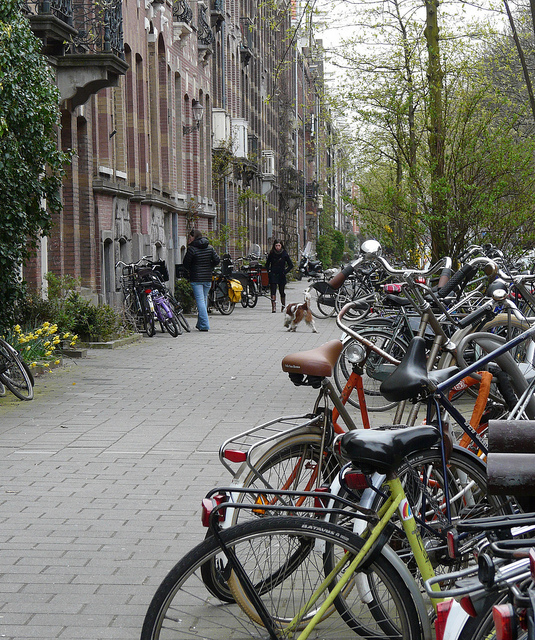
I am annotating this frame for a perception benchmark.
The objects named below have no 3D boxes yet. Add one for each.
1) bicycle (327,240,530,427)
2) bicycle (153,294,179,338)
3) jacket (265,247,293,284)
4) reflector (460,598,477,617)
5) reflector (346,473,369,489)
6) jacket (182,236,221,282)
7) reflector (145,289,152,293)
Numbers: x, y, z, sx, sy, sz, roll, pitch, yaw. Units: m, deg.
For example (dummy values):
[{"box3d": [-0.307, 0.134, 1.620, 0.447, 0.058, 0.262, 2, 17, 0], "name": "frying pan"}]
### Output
[{"box3d": [0.968, 0.038, 4.577, 1.614, 0.948, 0.917, -2, 6, -39], "name": "bicycle"}, {"box3d": [-2.254, -0.110, 16.836, 0.501, 0.916, 0.793, -2, 4, -10], "name": "bicycle"}, {"box3d": [0.330, -1.627, 22.798, 0.758, 1.084, 0.700, -1, 4, 5], "name": "jacket"}, {"box3d": [0.446, 0.635, 1.709, 0.015, 0.042, 0.031, -22, -22, -20], "name": "reflector"}, {"box3d": [0.258, 0.457, 2.199, 0.079, 0.067, 0.043, -1, 42, 3], "name": "reflector"}, {"box3d": [-1.609, -1.459, 18.463, 0.549, 1.069, 0.744, 2, 5, 36], "name": "jacket"}, {"box3d": [-2.618, -0.646, 16.839, 0.149, 0.068, 0.094, -1, 4, -8], "name": "reflector"}]
